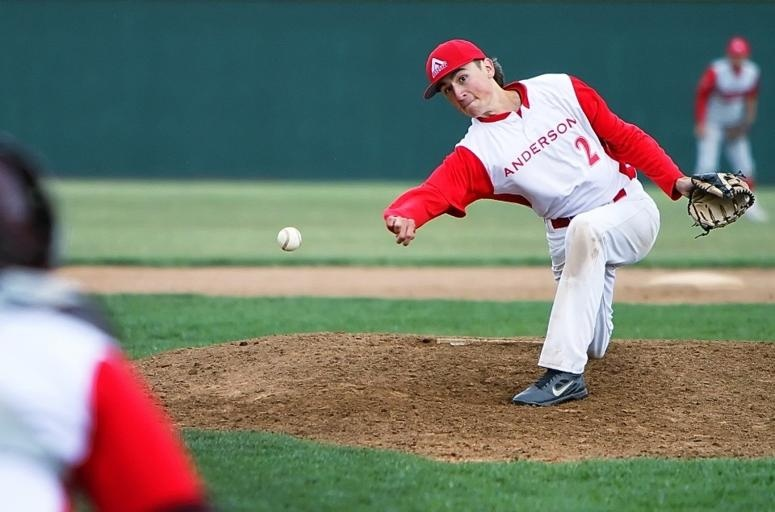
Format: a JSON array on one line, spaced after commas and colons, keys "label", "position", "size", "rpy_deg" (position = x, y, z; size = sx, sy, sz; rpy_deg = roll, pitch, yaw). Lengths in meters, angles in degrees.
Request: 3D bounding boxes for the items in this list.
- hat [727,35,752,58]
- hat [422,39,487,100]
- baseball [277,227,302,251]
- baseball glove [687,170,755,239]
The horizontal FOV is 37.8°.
[{"label": "hat", "position": [4.500, -2.670, 14.470], "size": [0.244, 0.270, 0.334], "rpy_deg": [1, 4, 15]}, {"label": "hat", "position": [0.521, -1.640, 9.477], "size": [0.551, 0.314, 0.389], "rpy_deg": [-42, 13, -11]}, {"label": "baseball", "position": [-0.981, -0.155, 10.841], "size": [0.235, 0.244, 0.245], "rpy_deg": [-2, -9, 18]}, {"label": "baseball glove", "position": [2.691, -0.440, 9.304], "size": [0.437, 0.585, 0.282], "rpy_deg": [-26, -14, -12]}]
